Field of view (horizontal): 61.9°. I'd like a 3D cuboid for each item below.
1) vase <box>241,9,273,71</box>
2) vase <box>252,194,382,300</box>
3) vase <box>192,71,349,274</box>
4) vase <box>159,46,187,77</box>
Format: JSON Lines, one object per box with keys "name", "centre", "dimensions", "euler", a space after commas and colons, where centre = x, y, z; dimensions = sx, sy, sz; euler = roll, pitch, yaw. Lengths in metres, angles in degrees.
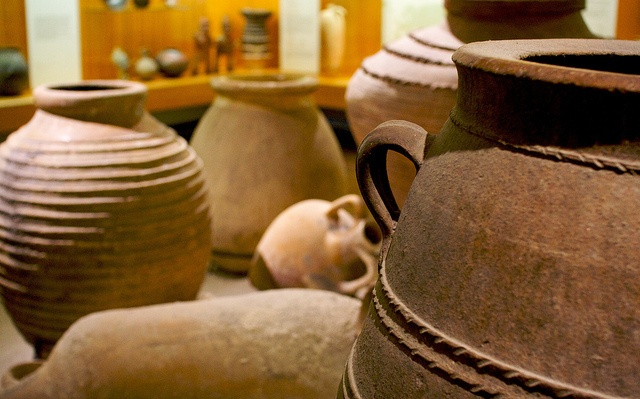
{"name": "vase", "centre": [-0.366, -0.912, 3.070], "dimensions": [0.170, 0.327, 0.456], "euler": [0, 16, -6]}
{"name": "vase", "centre": [-0.004, 0.215, 1.857], "dimensions": [0.352, 0.326, 0.352], "euler": [-28, 58, -4]}
{"name": "vase", "centre": [-0.203, -0.144, 2.069], "dimensions": [0.596, 0.633, 0.627], "euler": [0, 12, -2]}
{"name": "vase", "centre": [-0.837, -0.778, 3.025], "dimensions": [0.126, 0.130, 0.155], "euler": [6, 15, 10]}
